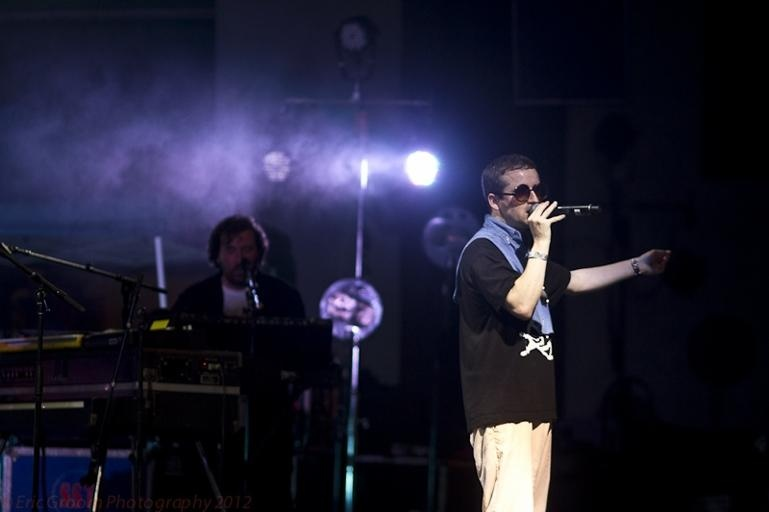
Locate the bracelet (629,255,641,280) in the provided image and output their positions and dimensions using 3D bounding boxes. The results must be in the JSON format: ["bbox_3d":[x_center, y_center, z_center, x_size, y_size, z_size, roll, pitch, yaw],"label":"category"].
[{"bbox_3d":[1.994,0.091,6.334,0.086,0.127,0.138,-4,-39,24],"label":"bracelet"}]

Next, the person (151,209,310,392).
[{"bbox_3d":[-1.296,0.403,7.277,1.451,1.478,0.831,1,-17,-6],"label":"person"}]
